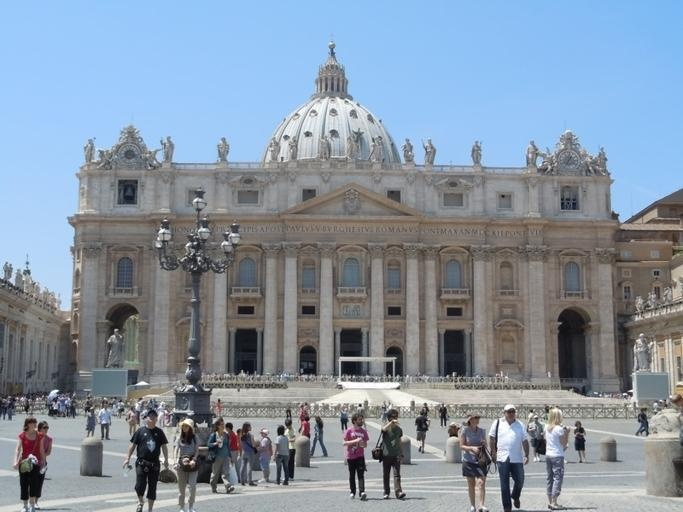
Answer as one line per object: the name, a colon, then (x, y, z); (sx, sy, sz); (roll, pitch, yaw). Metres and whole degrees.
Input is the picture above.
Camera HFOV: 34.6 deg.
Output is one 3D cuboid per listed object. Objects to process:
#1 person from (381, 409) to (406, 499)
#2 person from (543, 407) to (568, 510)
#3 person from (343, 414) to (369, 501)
person: (1.766, 6.871, 38.337); (0.958, 3.060, 1.434); (2, -7, -5)
person: (7.152, 6.822, 36.928); (0.675, 3.164, 1.009); (-4, -2, 9)
person: (0.552, 7.051, 38.860); (1.012, 2.974, 1.269); (3, -8, -27)
